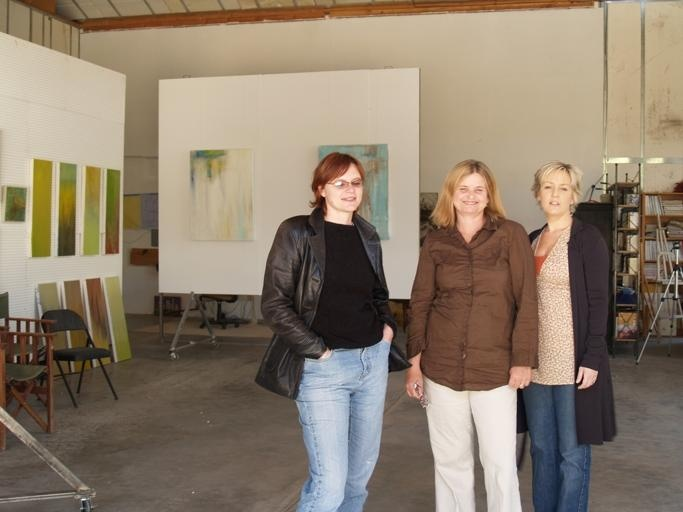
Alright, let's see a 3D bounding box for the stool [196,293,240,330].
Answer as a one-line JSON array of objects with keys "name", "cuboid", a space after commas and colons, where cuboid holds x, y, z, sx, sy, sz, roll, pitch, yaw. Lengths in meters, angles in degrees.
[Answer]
[{"name": "stool", "cuboid": [-2.446, 1.123, 11.854, 0.711, 0.519, 0.709, 2, 5, 11]}]
